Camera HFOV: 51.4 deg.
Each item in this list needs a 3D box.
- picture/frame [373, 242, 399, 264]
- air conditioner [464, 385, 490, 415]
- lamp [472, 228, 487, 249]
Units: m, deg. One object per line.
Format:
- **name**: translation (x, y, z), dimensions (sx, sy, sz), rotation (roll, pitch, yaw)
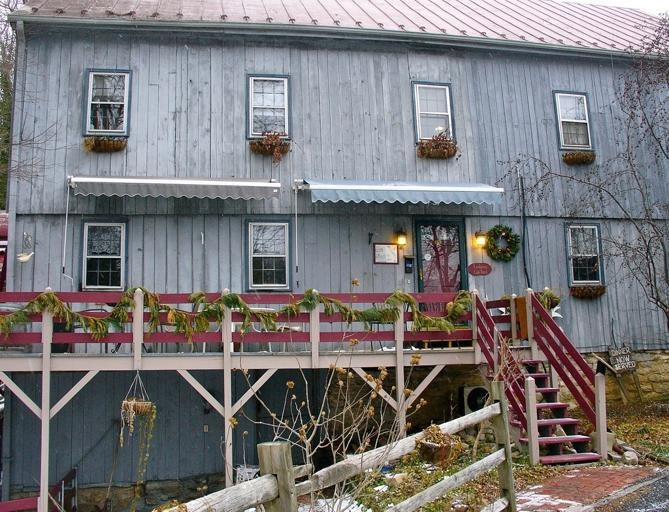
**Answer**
- **picture/frame**: translation (1.223, -0.064, 17.015), dimensions (0.428, 0.437, 0.039), rotation (3, -9, -19)
- **air conditioner**: translation (3.270, 3.335, 16.184), dimensions (0.547, 0.585, 0.486), rotation (-5, -6, 11)
- **lamp**: translation (3.639, -0.445, 17.470), dimensions (0.339, 0.603, 0.367), rotation (-1, -3, 27)
